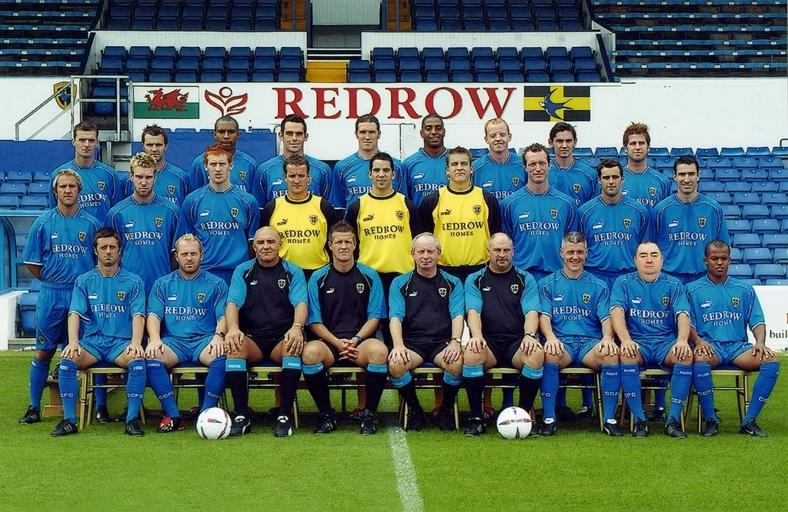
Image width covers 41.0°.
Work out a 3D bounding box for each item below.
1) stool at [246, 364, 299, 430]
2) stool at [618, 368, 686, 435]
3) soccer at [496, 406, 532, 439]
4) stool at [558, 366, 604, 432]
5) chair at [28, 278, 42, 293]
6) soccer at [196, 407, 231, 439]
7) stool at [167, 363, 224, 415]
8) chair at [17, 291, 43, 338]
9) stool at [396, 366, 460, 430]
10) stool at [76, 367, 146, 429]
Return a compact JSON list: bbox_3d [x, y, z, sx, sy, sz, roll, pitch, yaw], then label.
[{"bbox_3d":[-1.507,1.638,12.836,0.852,0.880,0.708,0,-6,-1],"label":"stool"},{"bbox_3d":[3.059,1.710,12.463,0.661,0.826,0.330,-1,-11,2],"label":"stool"},{"bbox_3d":[1.407,1.910,12.048,0.363,0.307,0.297,-7,-11,39],"label":"soccer"},{"bbox_3d":[2.305,1.658,12.811,0.612,0.765,0.789,0,-1,12],"label":"stool"},{"bbox_3d":[-6.039,0.480,17.660,0.179,0.148,0.463,-6,14,-25],"label":"chair"},{"bbox_3d":[-2.039,1.909,12.106,0.334,0.357,0.333,4,-26,5],"label":"soccer"},{"bbox_3d":[-2.317,1.479,12.523,0.701,0.696,0.614,-1,-5,-3],"label":"stool"},{"bbox_3d":[-5.949,0.952,17.310,0.445,0.764,0.352,8,14,35],"label":"chair"},{"bbox_3d":[0.413,1.646,12.777,0.802,0.787,0.681,0,-7,-2],"label":"stool"},{"bbox_3d":[-3.440,1.607,12.837,0.788,0.702,0.908,-4,6,-11],"label":"stool"}]
